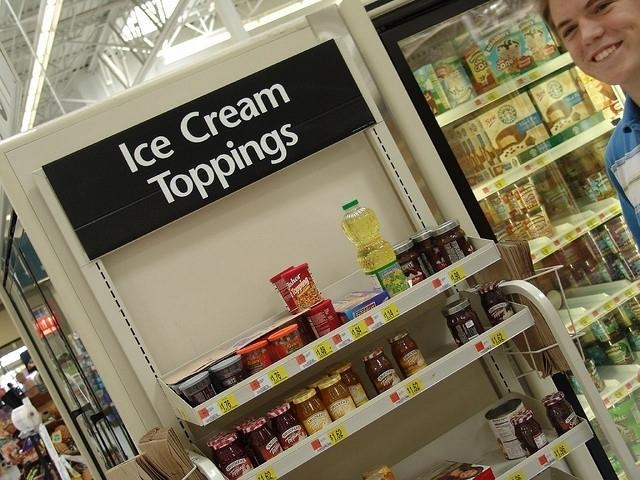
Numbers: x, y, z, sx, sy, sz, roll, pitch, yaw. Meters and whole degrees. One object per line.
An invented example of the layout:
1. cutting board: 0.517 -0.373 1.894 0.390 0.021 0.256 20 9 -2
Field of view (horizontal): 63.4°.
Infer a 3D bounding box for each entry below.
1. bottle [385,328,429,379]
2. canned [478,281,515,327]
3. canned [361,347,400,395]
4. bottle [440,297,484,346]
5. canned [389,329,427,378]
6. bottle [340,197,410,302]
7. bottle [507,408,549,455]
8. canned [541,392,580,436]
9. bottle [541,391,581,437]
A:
1. bottle: 0.367 0.497 2.238 0.127 0.214 0.130 -25 -14 -7
2. canned: 0.779 0.279 2.277 0.123 0.210 0.117 -25 -13 -9
3. canned: 0.252 0.554 2.199 0.116 0.189 0.118 -17 14 13
4. bottle: 0.606 0.345 2.305 0.156 0.213 0.205 -25 1 -15
5. canned: 0.371 0.497 2.229 0.127 0.213 0.130 -24 -13 -13
6. bottle: 0.228 0.032 2.258 0.153 0.446 0.310 -26 -2 4
7. bottle: 0.872 0.819 2.188 0.114 0.191 0.119 -24 -16 -7
8. canned: 1.030 0.749 2.239 0.113 0.182 0.111 -31 15 -25
9. bottle: 1.031 0.760 2.241 0.113 0.192 0.117 -22 -20 -8
